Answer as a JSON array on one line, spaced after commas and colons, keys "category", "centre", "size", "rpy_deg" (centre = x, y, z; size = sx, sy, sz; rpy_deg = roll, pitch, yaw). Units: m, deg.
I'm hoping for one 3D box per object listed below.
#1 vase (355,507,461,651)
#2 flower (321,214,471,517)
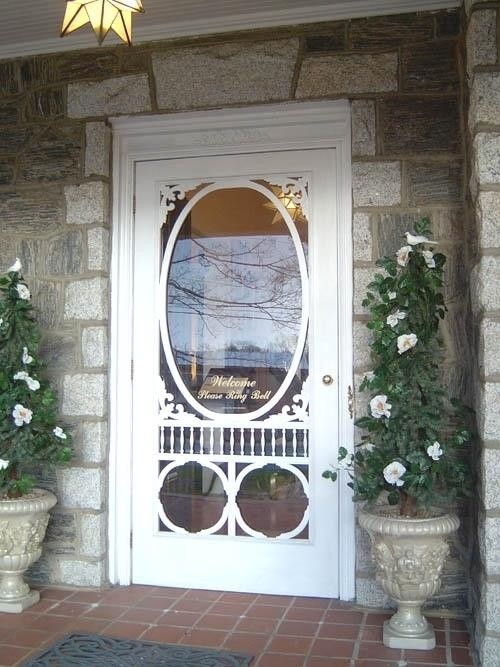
[{"category": "vase", "centre": [0.577, 0.912, 2.520], "size": [0.366, 0.471, 0.268], "rpy_deg": [-1, -2, 23]}, {"category": "flower", "centre": [0.577, 0.144, 2.657], "size": [0.525, 1.149, 0.451], "rpy_deg": [-1, -2, 16]}]
